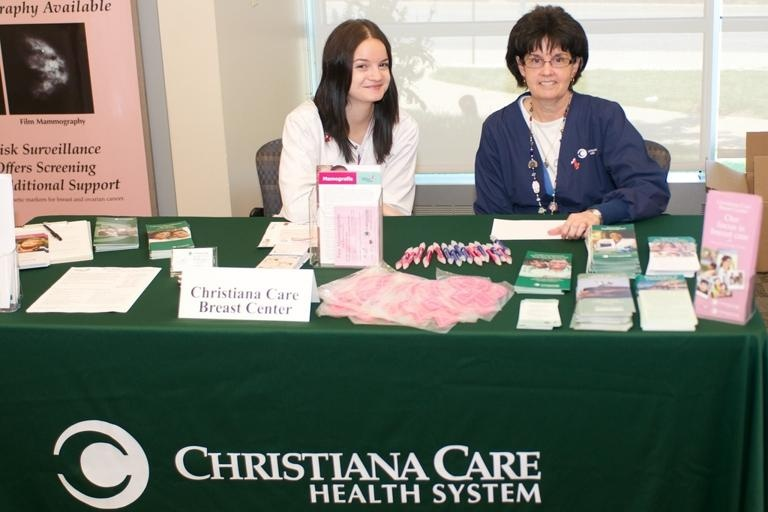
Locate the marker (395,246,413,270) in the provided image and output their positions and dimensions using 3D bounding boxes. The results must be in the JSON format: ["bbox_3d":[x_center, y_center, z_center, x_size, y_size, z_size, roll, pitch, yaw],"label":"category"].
[{"bbox_3d":[0.072,0.002,2.165,0.037,0.013,0.088,0,32,26],"label":"marker"}]

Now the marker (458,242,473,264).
[{"bbox_3d":[0.297,-0.008,2.182,0.048,0.024,0.114,-2,33,-1],"label":"marker"}]

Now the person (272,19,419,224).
[{"bbox_3d":[-0.143,-0.605,2.944,0.708,1.039,0.673,-5,28,-21],"label":"person"}]

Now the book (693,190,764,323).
[{"bbox_3d":[1.010,-0.001,1.749,0.151,0.377,0.114,6,15,32],"label":"book"}]

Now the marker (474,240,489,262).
[{"bbox_3d":[0.357,-0.017,2.190,0.022,0.023,0.089,-28,40,3],"label":"marker"}]

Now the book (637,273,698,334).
[{"bbox_3d":[0.859,0.138,1.817,0.160,0.104,0.253,2,14,16],"label":"book"}]

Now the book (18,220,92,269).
[{"bbox_3d":[-1.279,-0.011,2.319,0.230,0.047,0.242,-5,30,-14],"label":"book"}]

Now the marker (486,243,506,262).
[{"bbox_3d":[0.424,-0.018,2.194,0.046,0.018,0.074,0,31,-9],"label":"marker"}]

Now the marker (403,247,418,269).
[{"bbox_3d":[0.087,0.005,2.186,0.031,0.024,0.107,4,32,10],"label":"marker"}]

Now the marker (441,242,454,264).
[{"bbox_3d":[0.233,-0.014,2.198,0.026,0.021,0.087,-13,37,-3],"label":"marker"}]

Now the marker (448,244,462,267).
[{"bbox_3d":[0.258,-0.001,2.165,0.023,0.014,0.081,-21,34,17],"label":"marker"}]

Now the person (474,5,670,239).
[{"bbox_3d":[0.875,-0.666,2.728,0.575,0.976,0.859,-9,15,-27],"label":"person"}]

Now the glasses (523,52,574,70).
[{"bbox_3d":[0.768,-0.913,2.789,0.207,0.062,0.069,0,13,6],"label":"glasses"}]

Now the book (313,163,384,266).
[{"bbox_3d":[-0.127,-0.141,2.120,0.317,0.459,0.237,0,13,3],"label":"book"}]

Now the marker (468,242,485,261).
[{"bbox_3d":[0.340,-0.018,2.197,0.029,0.026,0.097,-6,26,3],"label":"marker"}]

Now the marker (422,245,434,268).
[{"bbox_3d":[0.160,0.002,2.183,0.028,0.015,0.119,1,30,8],"label":"marker"}]

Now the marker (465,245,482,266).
[{"bbox_3d":[0.328,-0.003,2.185,0.029,0.024,0.092,-6,31,-8],"label":"marker"}]

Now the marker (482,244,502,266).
[{"bbox_3d":[0.385,-0.016,2.201,0.028,0.037,0.127,11,31,-29],"label":"marker"}]

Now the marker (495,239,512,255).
[{"bbox_3d":[0.447,-0.034,2.229,0.041,0.021,0.065,-7,40,-39],"label":"marker"}]

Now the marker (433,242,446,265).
[{"bbox_3d":[0.208,-0.018,2.206,0.025,0.016,0.096,-16,31,-1],"label":"marker"}]

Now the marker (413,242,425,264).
[{"bbox_3d":[0.128,-0.015,2.204,0.024,0.019,0.093,29,29,-5],"label":"marker"}]

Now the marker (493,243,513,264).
[{"bbox_3d":[0.436,-0.015,2.188,0.053,0.021,0.079,-4,34,-26],"label":"marker"}]
